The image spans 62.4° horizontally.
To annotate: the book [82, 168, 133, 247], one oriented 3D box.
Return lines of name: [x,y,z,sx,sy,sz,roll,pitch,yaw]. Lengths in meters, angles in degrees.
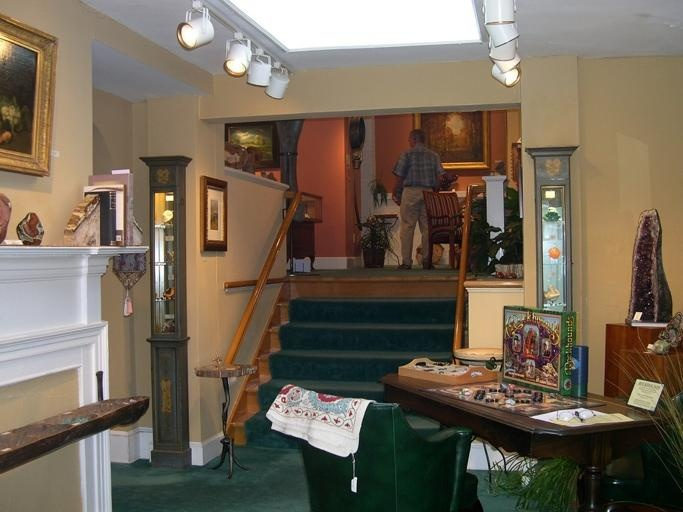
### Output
book: [-1.456,-0.300,3.512,0.291,0.464,0.239,0,1,-19]

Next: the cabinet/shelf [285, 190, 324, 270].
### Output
cabinet/shelf: [-0.534,-0.386,7.742,0.498,1.177,1.230,0,4,5]

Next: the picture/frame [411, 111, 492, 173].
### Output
picture/frame: [2.017,-2.000,9.994,1.354,1.572,0.118,0,0,8]

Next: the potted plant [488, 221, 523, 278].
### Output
potted plant: [1.619,-0.075,5.558,0.514,0.657,0.369,1,4,16]

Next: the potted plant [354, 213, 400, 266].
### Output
potted plant: [0.607,-0.274,9.906,0.673,0.990,0.906,1,-1,5]
